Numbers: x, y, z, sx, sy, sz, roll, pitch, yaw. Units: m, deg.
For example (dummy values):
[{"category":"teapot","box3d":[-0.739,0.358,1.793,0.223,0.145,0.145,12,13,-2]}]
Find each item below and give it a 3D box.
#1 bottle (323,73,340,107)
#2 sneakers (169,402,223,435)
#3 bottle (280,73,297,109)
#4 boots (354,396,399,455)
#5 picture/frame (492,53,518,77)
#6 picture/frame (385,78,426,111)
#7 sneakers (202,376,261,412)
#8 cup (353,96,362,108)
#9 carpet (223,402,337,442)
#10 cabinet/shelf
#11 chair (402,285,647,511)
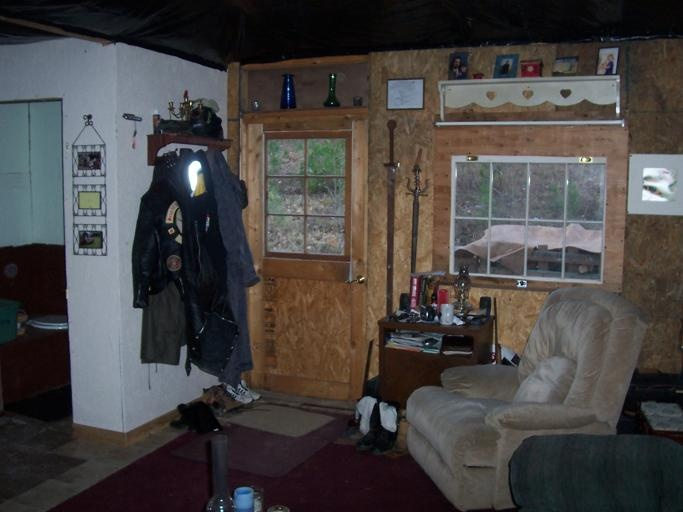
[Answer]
[{"category":"bottle","box3d":[-0.083,-1.406,5.144,0.137,0.281,0.147,0,13,0]},{"category":"sneakers","box3d":[-1.126,1.247,4.687,0.245,0.099,0.250,4,2,34]},{"category":"bottle","box3d":[-0.468,-1.423,5.250,0.132,0.297,0.141,0,13,0]},{"category":"boots","box3d":[0.255,1.222,4.387,0.329,0.318,0.253,3,13,12]},{"category":"picture/frame","box3d":[1.289,-1.486,4.710,0.193,0.218,0.014,3,-2,20]},{"category":"picture/frame","box3d":[0.537,-1.326,4.940,0.277,0.219,0.019,1,2,9]},{"category":"sneakers","box3d":[-0.992,1.162,5.064,0.555,0.252,0.201,-3,6,14]},{"category":"cup","box3d":[0.138,-1.294,5.085,0.082,0.090,0.083,2,0,0]},{"category":"carpet","box3d":[-0.497,1.310,4.759,0.587,0.006,0.424,3,5,35]},{"category":"cabinet/shelf","box3d":[0.701,0.743,4.733,0.731,0.679,0.517,7,21,20]},{"category":"chair","box3d":[1.193,0.879,4.150,1.413,1.340,1.330,1,-2,-9]}]
